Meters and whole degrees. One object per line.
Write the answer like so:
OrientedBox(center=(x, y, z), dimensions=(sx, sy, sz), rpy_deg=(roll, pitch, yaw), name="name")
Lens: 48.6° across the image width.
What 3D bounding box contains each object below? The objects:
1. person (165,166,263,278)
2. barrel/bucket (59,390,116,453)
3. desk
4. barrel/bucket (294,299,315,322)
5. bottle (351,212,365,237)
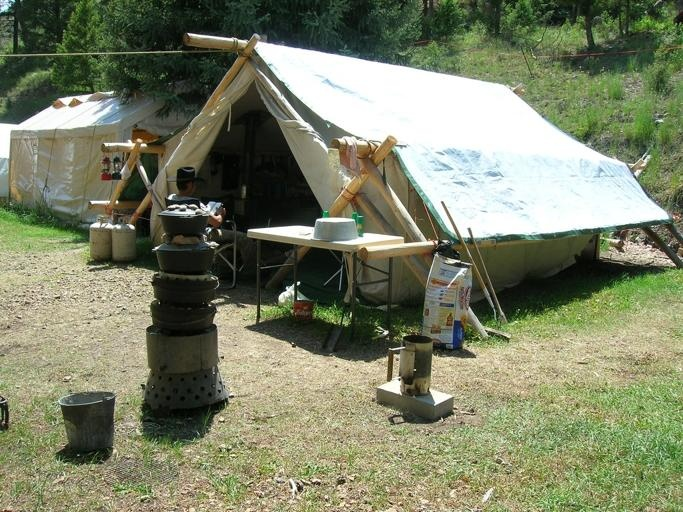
OrientedBox(center=(-1.727, -0.463, 9.614), dimensions=(0.885, 1.453, 1.108), rpy_deg=(16, 20, 31), name="person")
OrientedBox(center=(-2.034, 1.322, 6.154), dimensions=(0.424, 0.459, 0.477), rpy_deg=(6, 9, 45), name="barrel/bucket")
OrientedBox(center=(-0.214, 0.280, 8.506), dimensions=(1.734, 1.073, 1.054), rpy_deg=(8, 12, 34), name="desk")
OrientedBox(center=(-0.419, 0.614, 8.603), dimensions=(0.211, 0.211, 0.213), rpy_deg=(1, 6, 0), name="barrel/bucket")
OrientedBox(center=(0.180, -0.346, 8.252), dimensions=(0.131, 0.220, 0.350), rpy_deg=(2, 12, 0), name="bottle")
